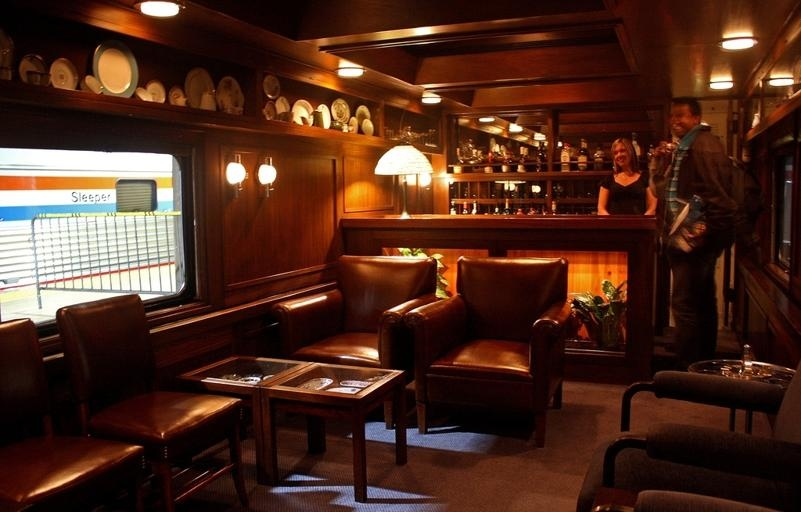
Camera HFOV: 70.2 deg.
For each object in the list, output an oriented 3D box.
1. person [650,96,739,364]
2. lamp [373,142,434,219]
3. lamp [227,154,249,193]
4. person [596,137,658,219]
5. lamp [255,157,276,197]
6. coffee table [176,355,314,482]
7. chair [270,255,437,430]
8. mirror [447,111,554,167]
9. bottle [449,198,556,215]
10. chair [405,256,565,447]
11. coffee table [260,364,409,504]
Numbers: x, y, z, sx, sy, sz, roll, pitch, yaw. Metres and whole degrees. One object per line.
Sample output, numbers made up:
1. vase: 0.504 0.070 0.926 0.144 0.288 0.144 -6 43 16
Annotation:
1. person: 2.563 -0.193 4.972 0.614 2.304 0.411 10 18 40
2. lamp: 0.028 -0.748 5.736 0.615 0.629 0.577 0 8 20
3. lamp: -1.274 -0.645 4.425 0.104 0.241 0.201 3 3 37
4. person: 2.418 -0.834 6.043 0.573 0.789 0.326 4 15 20
5. lamp: -1.128 -0.673 4.738 0.202 0.270 0.091 -5 16 -31
6. coffee table: -1.014 0.998 4.017 0.852 0.576 0.800 1 4 24
7. chair: -0.351 0.608 4.936 1.477 1.540 1.327 1 0 23
8. mirror: 1.427 -1.779 8.439 1.330 0.719 1.262 1 4 13
9. bottle: 1.341 -0.659 7.612 1.387 0.218 0.430 2 13 12
10. chair: 0.706 0.691 4.439 1.112 1.222 0.987 2 14 15
11. coffee table: -0.435 1.131 3.865 0.816 0.551 0.788 -1 0 19
